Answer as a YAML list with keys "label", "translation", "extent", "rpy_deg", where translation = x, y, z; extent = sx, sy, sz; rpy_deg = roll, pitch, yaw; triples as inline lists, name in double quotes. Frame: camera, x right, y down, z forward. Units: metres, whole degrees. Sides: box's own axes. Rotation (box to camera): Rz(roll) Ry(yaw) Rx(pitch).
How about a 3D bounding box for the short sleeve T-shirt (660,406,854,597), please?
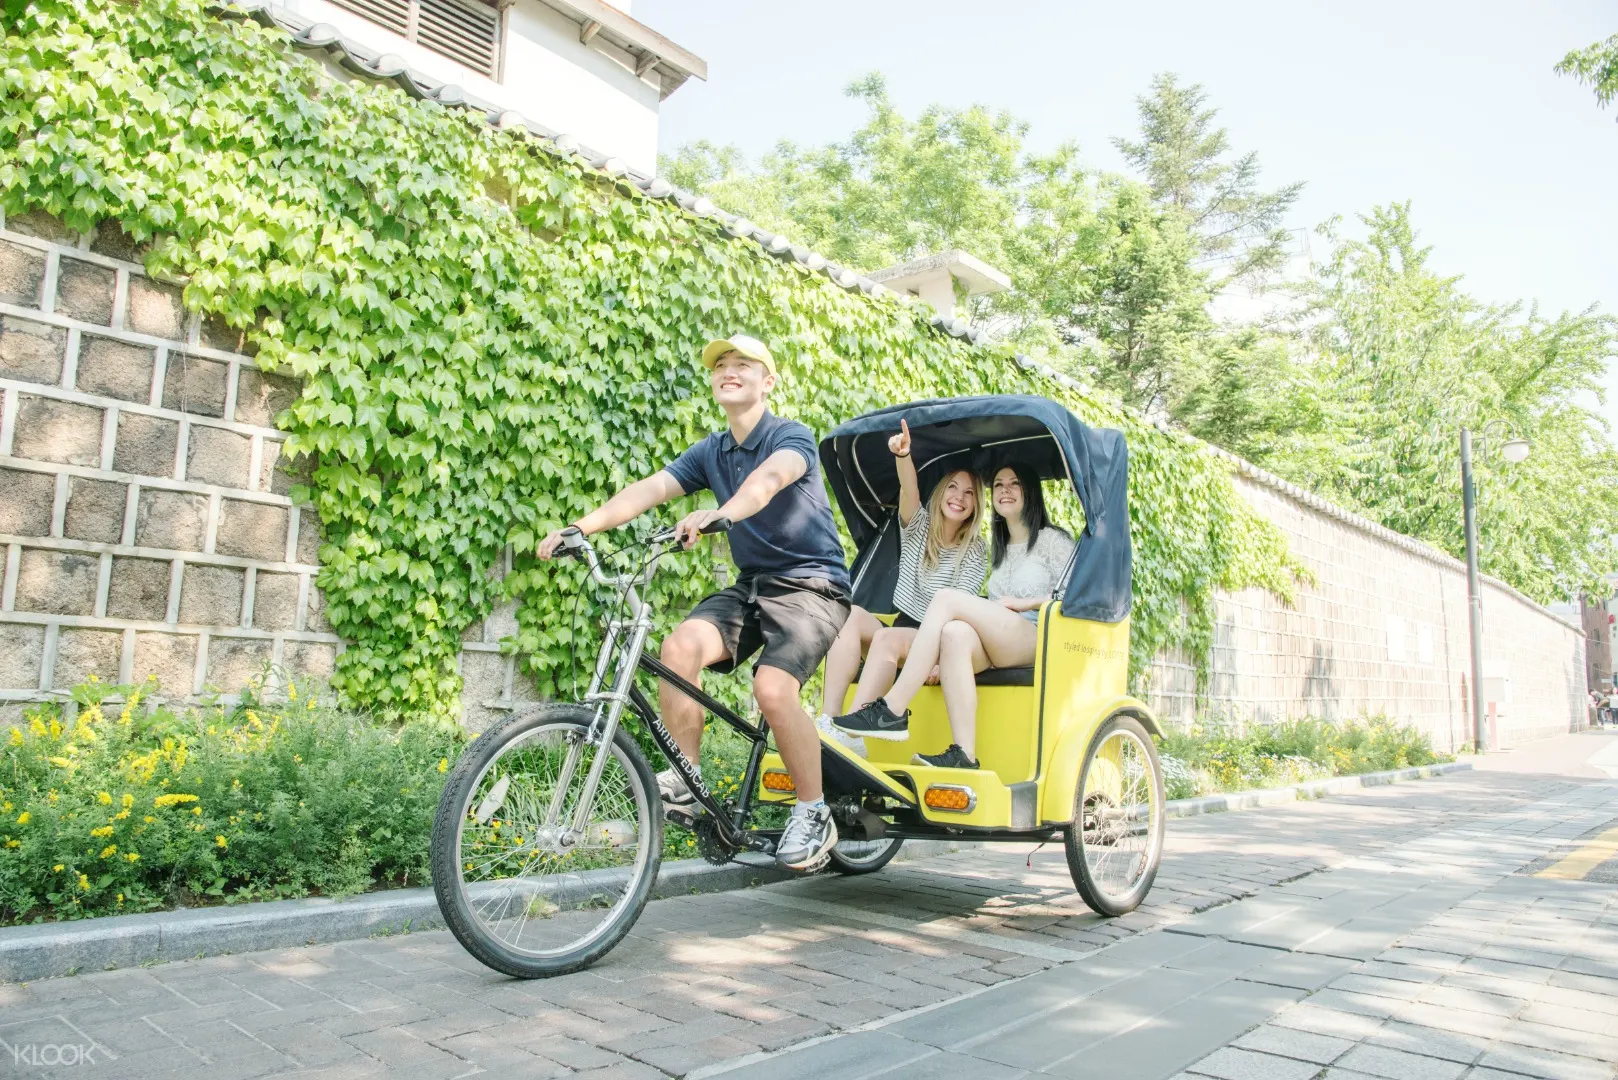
- label: "short sleeve T-shirt"
  translation: [-0.332, -0.220, 7.004]
  extent: [0.813, 1.052, 1.071]
  rpy_deg: [-1, -28, -44]

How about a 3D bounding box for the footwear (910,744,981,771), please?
- label: "footwear"
  translation: [0.776, 1.231, 6.638]
  extent: [0.362, 0.148, 0.139]
  rpy_deg: [6, -17, 1]

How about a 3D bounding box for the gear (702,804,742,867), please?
- label: "gear"
  translation: [-0.461, 1.515, 6.205]
  extent: [0.244, 0.344, 0.164]
  rpy_deg: [2, 0, -36]

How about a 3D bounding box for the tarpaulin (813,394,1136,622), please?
- label: "tarpaulin"
  translation: [1.090, -0.157, 7.631]
  extent: [1.752, 1.304, 1.506]
  rpy_deg: [0, -6, 35]

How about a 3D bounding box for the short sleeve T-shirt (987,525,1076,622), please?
- label: "short sleeve T-shirt"
  translation: [1.403, 0.221, 7.358]
  extent: [0.301, 0.467, 0.498]
  rpy_deg: [21, -16, -25]

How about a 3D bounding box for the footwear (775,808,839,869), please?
- label: "footwear"
  translation: [0.001, 1.567, 6.265]
  extent: [0.340, 0.342, 0.168]
  rpy_deg: [1, 0, -12]

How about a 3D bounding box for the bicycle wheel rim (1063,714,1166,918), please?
- label: "bicycle wheel rim"
  translation: [1.883, 1.669, 7.216]
  extent: [0.373, 1.233, 1.297]
  rpy_deg: [-4, -12, 39]

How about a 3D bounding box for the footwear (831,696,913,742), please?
- label: "footwear"
  translation: [0.381, 1.020, 6.671]
  extent: [0.470, 0.209, 0.179]
  rpy_deg: [9, -23, -8]

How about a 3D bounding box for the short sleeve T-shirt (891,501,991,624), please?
- label: "short sleeve T-shirt"
  translation: [0.835, 0.151, 7.442]
  extent: [0.497, 0.635, 0.351]
  rpy_deg: [35, -24, -17]

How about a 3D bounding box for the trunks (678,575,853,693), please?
- label: "trunks"
  translation: [-0.197, 0.467, 6.320]
  extent: [0.811, 0.561, 0.439]
  rpy_deg: [1, -1, 2]
